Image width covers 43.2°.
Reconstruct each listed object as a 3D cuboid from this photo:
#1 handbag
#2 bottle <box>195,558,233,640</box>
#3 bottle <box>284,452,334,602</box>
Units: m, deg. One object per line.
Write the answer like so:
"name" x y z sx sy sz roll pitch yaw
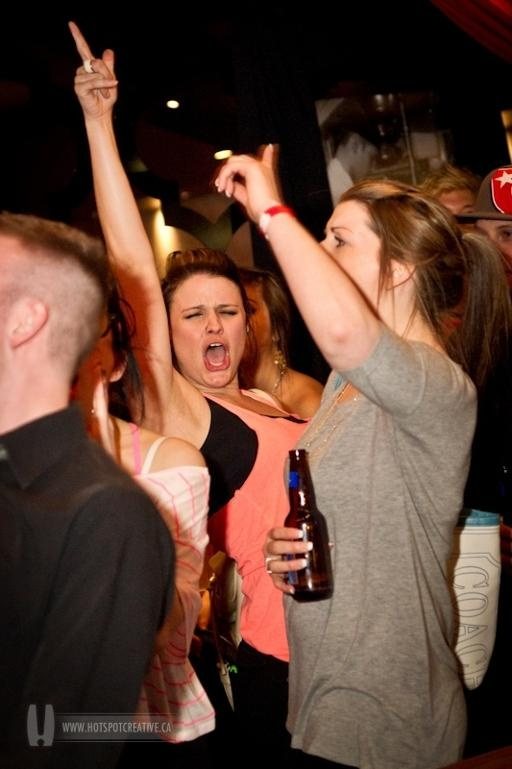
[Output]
"handbag" 0.487 0.463 1.409 0.074 0.356 0.192 -3 17 33
"bottle" -0.113 0.613 1.869 0.105 0.245 0.191 7 0 -7
"bottle" 0.081 0.248 1.149 0.085 0.257 0.111 -12 14 3
